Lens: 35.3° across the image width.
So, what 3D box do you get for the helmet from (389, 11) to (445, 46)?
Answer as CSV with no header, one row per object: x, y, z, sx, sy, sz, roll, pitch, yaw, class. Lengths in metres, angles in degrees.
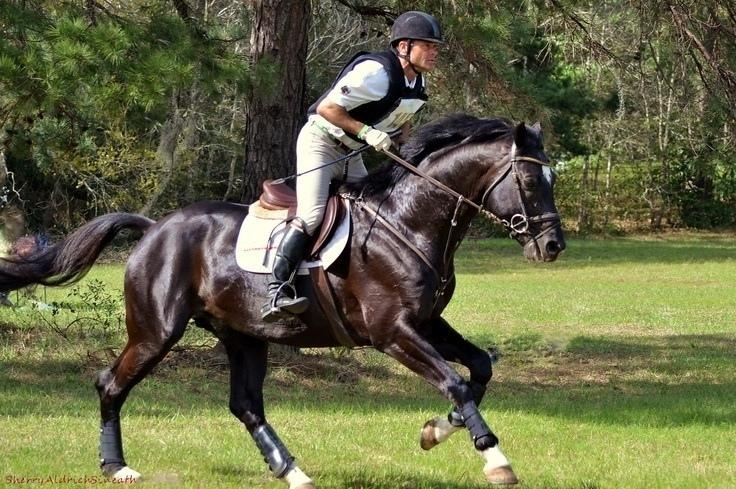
0.697,-3.105,16.752,0.633,0.341,0.476,3,7,21,helmet

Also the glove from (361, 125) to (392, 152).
0.113,-1.518,16.570,0.463,0.274,0.152,35,-34,4,glove

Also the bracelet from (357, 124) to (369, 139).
-0.059,-1.587,16.609,0.077,0.179,0.164,29,-5,18,bracelet

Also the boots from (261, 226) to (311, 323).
-1.175,0.427,16.682,0.649,1.406,0.447,2,10,-4,boots
